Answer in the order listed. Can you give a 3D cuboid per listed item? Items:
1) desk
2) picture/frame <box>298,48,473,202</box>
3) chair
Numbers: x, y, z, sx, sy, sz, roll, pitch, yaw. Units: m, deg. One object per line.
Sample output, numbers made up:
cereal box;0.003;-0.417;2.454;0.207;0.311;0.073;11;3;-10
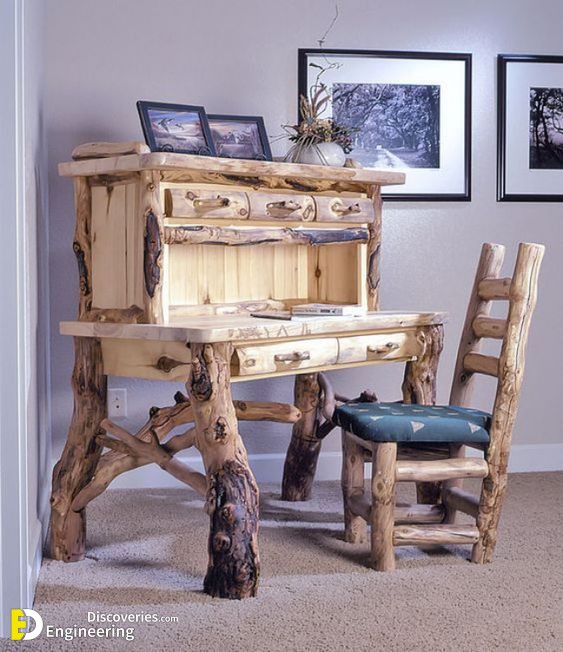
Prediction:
desk;-0.042;0.332;2.111;0.802;0.657;1.141;-1;-1;39
picture/frame;0.385;-0.811;2.534;0.866;0.628;0.036;-1;7;-6
chair;0.470;0.211;1.951;0.618;0.941;0.443;0;1;-12
